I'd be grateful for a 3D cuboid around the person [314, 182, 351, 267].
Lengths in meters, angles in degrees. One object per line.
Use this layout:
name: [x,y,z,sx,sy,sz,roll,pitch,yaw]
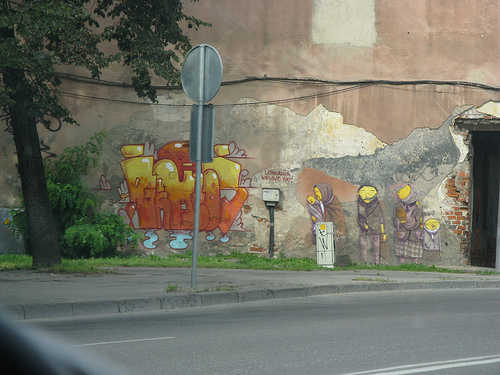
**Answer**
person: [2.717,1.257,30.070,1.178,3.394,0.963,-7,21,0]
